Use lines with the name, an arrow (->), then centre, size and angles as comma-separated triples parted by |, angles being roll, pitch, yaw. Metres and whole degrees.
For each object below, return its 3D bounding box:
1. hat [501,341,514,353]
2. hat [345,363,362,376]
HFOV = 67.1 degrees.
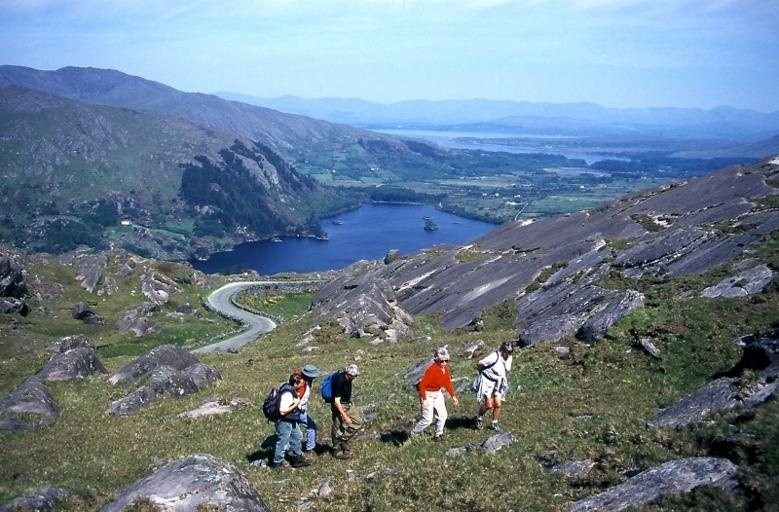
hat -> 8.005, 6.221, 40.109 | 0.978, 0.834, 0.730 | 0, -4, -7
hat -> -2.385, 7.293, 37.787 | 1.151, 0.497, 1.229 | 15, -13, 5
